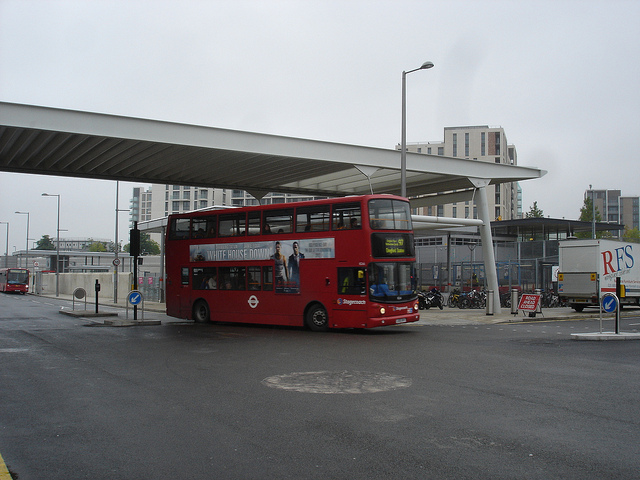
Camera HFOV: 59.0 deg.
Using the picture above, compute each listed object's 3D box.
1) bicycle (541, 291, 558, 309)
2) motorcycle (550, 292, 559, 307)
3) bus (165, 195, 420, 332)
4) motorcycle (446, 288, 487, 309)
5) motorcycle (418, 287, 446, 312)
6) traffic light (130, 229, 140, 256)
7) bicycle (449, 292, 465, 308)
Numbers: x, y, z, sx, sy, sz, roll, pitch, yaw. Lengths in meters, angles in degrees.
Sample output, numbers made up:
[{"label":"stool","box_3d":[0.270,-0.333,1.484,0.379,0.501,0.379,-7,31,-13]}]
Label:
[{"label":"bicycle","box_3d":[14.977,3.965,36.270,2.277,0.979,0.661,1,0,-40]},{"label":"motorcycle","box_3d":[15.330,3.926,36.824,0.247,0.930,0.721,-8,-19,29]},{"label":"bus","box_3d":[-1.716,1.128,23.745,10.870,5.238,3.192,-3,-3,36]},{"label":"motorcycle","box_3d":[8.856,3.666,34.561,1.985,1.108,0.960,-1,0,-8]},{"label":"motorcycle","box_3d":[6.484,3.560,32.948,1.170,1.213,2.912,-4,-6,22]},{"label":"traffic light","box_3d":[-8.612,0.144,26.226,0.421,1.311,1.060,0,-5,-18]},{"label":"bicycle","box_3d":[8.308,3.780,34.523,0.874,0.575,0.492,-1,1,15]}]
